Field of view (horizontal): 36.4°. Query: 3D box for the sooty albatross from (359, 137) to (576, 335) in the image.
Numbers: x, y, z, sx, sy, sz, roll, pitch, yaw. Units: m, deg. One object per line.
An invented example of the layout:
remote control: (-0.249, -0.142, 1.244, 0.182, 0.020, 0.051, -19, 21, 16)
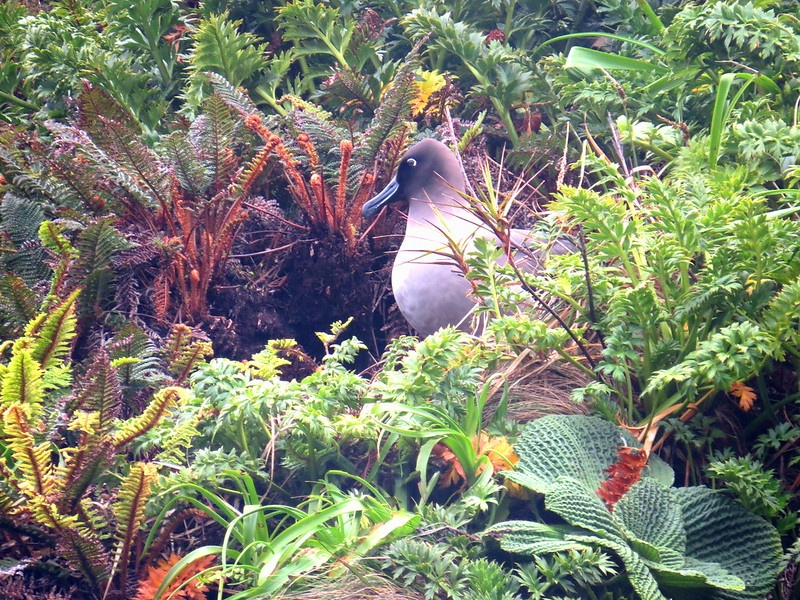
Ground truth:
sooty albatross: (0.238, -0.245, 4.811, 0.885, 0.928, 0.527, 2, -8, 6)
